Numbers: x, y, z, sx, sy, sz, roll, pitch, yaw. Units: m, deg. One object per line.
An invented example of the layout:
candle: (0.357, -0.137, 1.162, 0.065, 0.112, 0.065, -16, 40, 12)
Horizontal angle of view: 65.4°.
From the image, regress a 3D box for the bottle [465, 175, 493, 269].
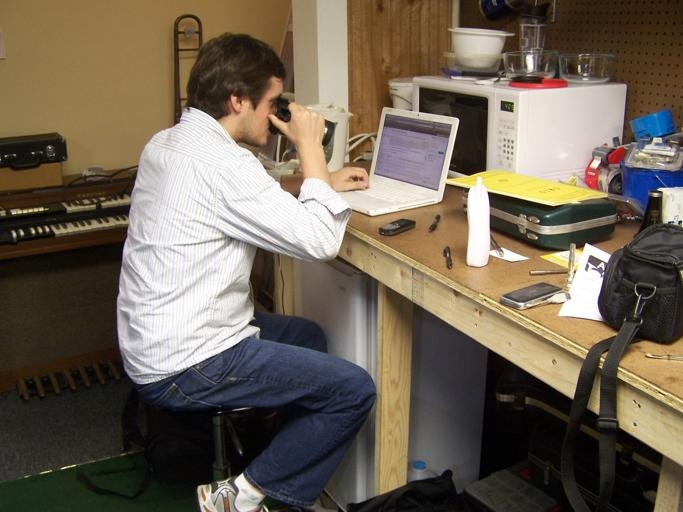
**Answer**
bottle: (0.352, -0.090, 1.366, 0.060, 0.219, 0.097, 3, 18, 14)

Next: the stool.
stool: (-0.401, 0.659, 1.818, 0.257, 0.314, 0.294, 2, -20, -29)

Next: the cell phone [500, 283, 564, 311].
cell phone: (0.428, 0.086, 1.175, 0.108, 0.023, 0.063, -13, 22, -32)

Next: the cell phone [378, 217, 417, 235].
cell phone: (0.166, -0.098, 1.635, 0.049, 0.026, 0.109, 13, 25, 40)

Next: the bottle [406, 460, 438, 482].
bottle: (0.304, 0.778, 1.975, 0.076, 0.078, 0.079, 1, 2, -9)

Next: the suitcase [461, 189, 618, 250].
suitcase: (0.561, -0.103, 1.496, 0.188, 0.081, 0.259, -13, 26, -32)

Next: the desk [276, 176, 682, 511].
desk: (0.359, 0.241, 1.497, 0.349, 0.661, 1.030, -7, 21, -21)

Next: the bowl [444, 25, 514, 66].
bowl: (0.540, -0.828, 2.123, 0.209, 0.153, 0.116, 3, 18, 12)

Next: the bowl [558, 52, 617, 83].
bowl: (0.898, -0.683, 1.953, 0.133, 0.075, 0.149, -3, 16, -14)

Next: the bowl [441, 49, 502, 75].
bowl: (0.540, -0.775, 2.168, 0.180, 0.069, 0.184, 2, 25, -1)

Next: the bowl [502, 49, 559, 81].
bowl: (0.693, -0.700, 1.975, 0.171, 0.095, 0.169, 0, 21, 0)

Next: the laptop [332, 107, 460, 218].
laptop: (0.174, -0.344, 1.922, 0.489, 0.283, 0.496, 3, 25, 15)

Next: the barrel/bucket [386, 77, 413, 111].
barrel/bucket: (0.259, -0.728, 2.465, 0.153, 0.124, 0.159, -2, 11, 0)

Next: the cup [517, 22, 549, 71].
cup: (0.757, -0.862, 2.147, 0.083, 0.079, 0.287, 2, -23, 19)
